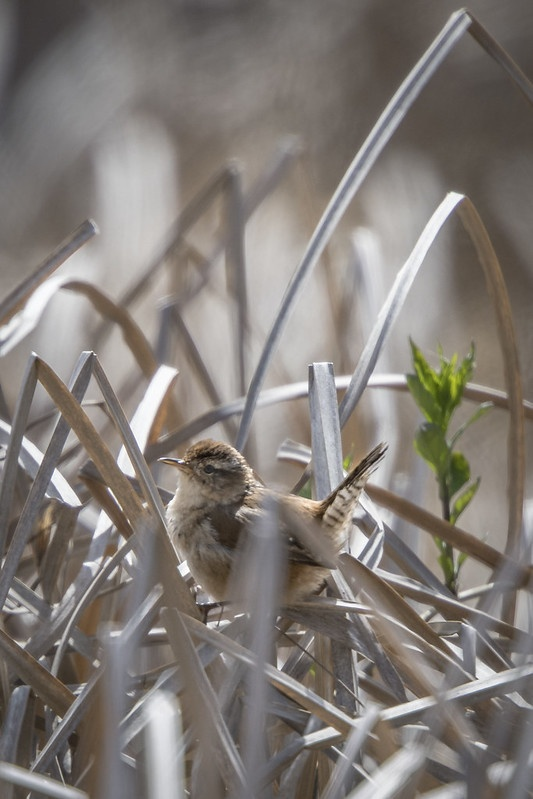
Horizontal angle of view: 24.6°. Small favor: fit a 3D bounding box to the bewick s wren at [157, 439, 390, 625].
[{"bbox_3d":[0.020,0.195,1.881,0.334,0.265,0.184,6,6,25],"label":"bewick s wren"}]
